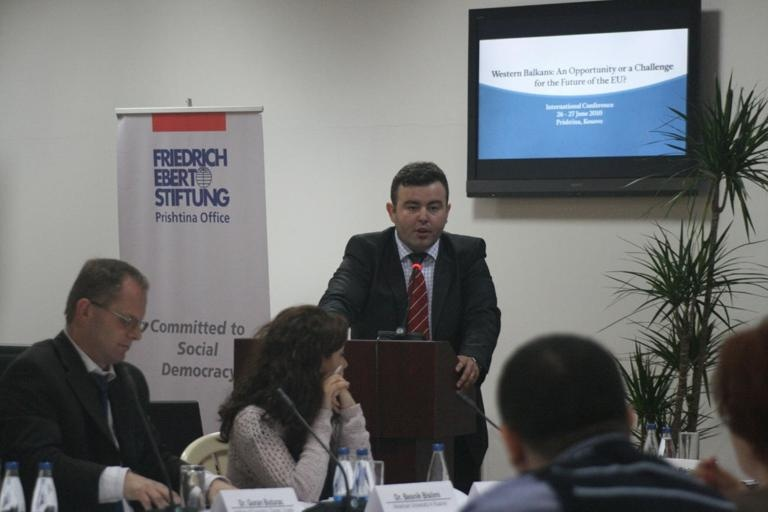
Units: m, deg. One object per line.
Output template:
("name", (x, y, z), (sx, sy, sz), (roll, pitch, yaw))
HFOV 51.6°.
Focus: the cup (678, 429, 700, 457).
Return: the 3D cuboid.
("cup", (1.481, 0.896, 3.873), (0.103, 0.190, 0.109), (-1, -4, 0))
